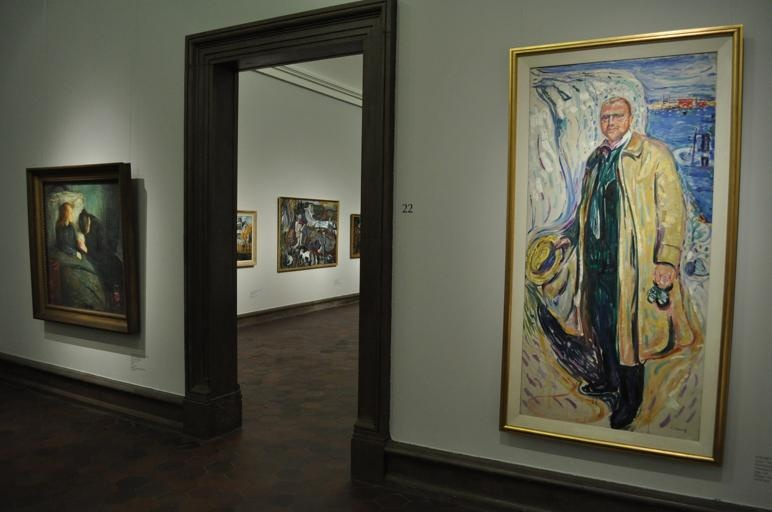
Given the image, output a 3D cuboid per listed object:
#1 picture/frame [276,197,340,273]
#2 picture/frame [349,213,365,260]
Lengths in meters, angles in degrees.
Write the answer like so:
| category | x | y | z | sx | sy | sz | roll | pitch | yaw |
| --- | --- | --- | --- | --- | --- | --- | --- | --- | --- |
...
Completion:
| category | x | y | z | sx | sy | sz | roll | pitch | yaw |
| --- | --- | --- | --- | --- | --- | --- | --- | --- | --- |
| picture/frame | -2.054 | -0.625 | 15.699 | 0.105 | 1.937 | 2.570 | 0 | 1 | 30 |
| picture/frame | -0.853 | -0.603 | 17.775 | 0.053 | 1.324 | 1.133 | -2 | 1 | 19 |
